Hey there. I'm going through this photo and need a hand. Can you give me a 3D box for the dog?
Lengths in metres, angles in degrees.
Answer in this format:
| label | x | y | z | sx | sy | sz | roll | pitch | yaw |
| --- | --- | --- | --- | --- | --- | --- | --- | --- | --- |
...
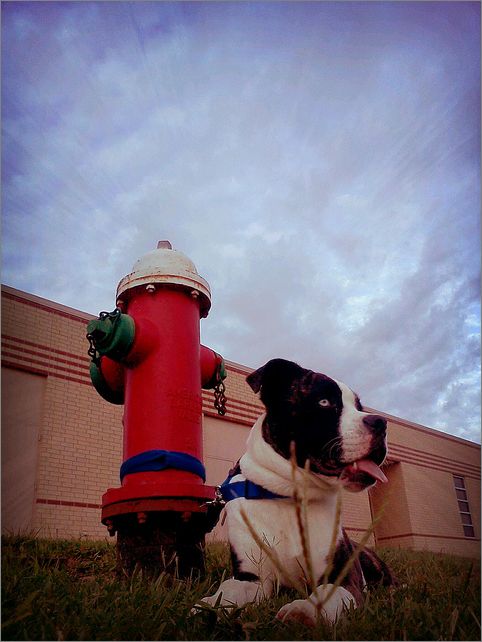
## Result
| label | x | y | z | sx | sy | sz | roll | pitch | yaw |
| --- | --- | --- | --- | --- | --- | --- | --- | --- | --- |
| dog | 0.252 | 0.701 | 2.115 | 0.783 | 1.111 | 1.259 | -2 | -15 | 16 |
